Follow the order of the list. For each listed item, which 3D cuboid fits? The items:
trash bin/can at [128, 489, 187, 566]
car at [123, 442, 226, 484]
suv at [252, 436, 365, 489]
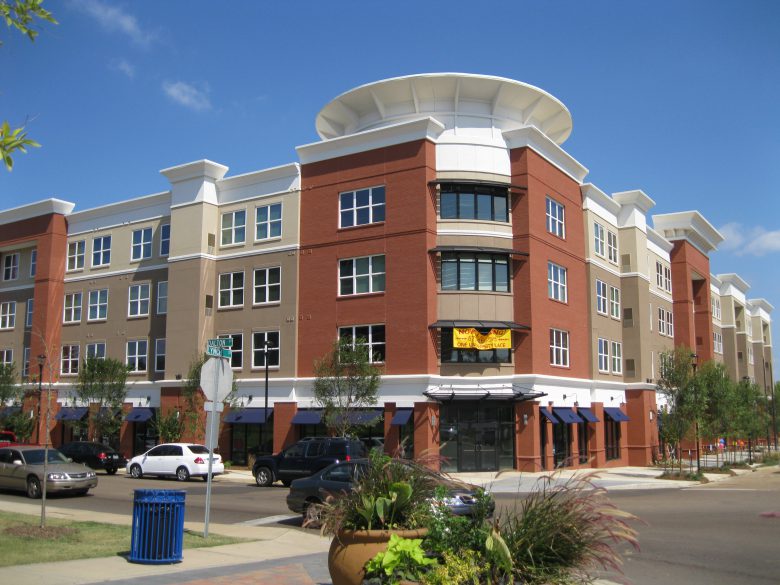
[{"bbox_3d":[-5.105,5.109,16.296,1.365,1.742,1.385,6,-7,-33],"label":"trash bin/can"},{"bbox_3d":[-10.702,8.459,36.292,4.955,1.903,1.728,-6,-7,34],"label":"car"},{"bbox_3d":[-3.758,7.580,32.329,4.838,2.310,2.069,0,-11,13],"label":"suv"}]
